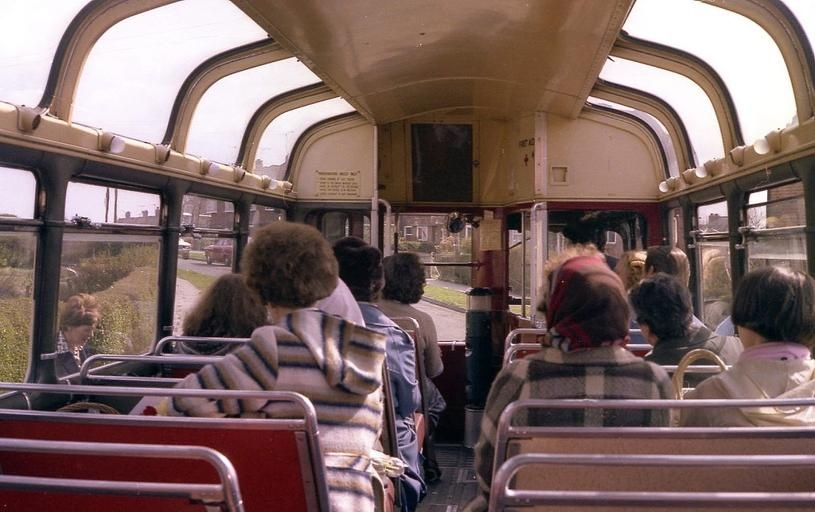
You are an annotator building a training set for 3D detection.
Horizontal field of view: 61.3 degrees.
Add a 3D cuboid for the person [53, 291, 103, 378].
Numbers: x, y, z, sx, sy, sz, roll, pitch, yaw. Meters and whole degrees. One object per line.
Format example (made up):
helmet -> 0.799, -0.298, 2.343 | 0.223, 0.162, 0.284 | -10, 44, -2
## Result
person -> -2.824, 0.665, 5.819 | 0.379, 0.700, 0.735 | 0, 3, -9
